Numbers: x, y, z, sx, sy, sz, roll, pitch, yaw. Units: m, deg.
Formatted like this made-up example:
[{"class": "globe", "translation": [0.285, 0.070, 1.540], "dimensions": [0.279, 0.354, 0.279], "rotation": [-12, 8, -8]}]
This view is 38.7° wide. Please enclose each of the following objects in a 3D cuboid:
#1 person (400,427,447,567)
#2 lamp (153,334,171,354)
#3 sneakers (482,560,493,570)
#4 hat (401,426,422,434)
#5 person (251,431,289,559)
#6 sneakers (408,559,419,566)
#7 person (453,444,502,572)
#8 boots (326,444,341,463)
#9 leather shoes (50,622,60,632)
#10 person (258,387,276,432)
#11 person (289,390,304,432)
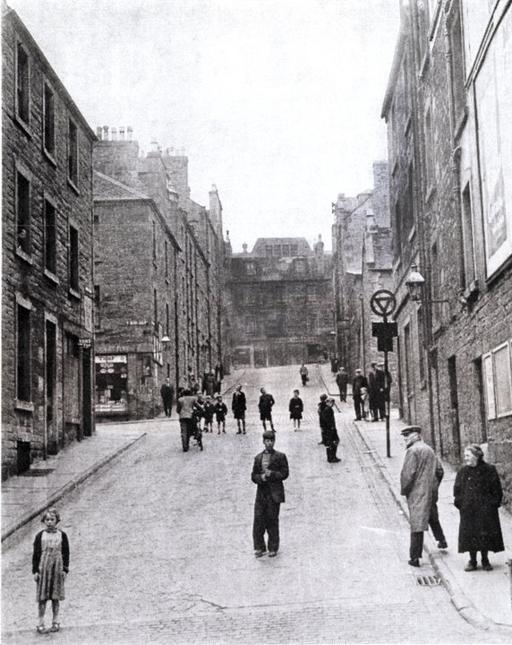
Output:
[{"class": "person", "translation": [2.077, 2.106, 9.078], "dimensions": [0.503, 1.656, 1.017], "rotation": [-4, -7, 15]}, {"class": "lamp", "translation": [-4.523, 1.077, 35.027], "dimensions": [0.624, 1.257, 0.832], "rotation": [-2, -2, 20]}, {"class": "sneakers", "translation": [2.531, 2.662, 7.998], "dimensions": [0.108, 0.095, 0.189], "rotation": [-7, -9, 18]}, {"class": "hat", "translation": [1.983, 1.371, 9.324], "dimensions": [0.214, 0.097, 0.211], "rotation": [-2, -2, 14]}, {"class": "person", "translation": [0.181, 2.285, 9.849], "dimensions": [0.501, 1.628, 0.604], "rotation": [-2, -6, -2]}, {"class": "sneakers", "translation": [1.873, 2.844, 8.646], "dimensions": [0.133, 0.096, 0.155], "rotation": [-6, -9, 7]}, {"class": "person", "translation": [2.445, 2.036, 8.026], "dimensions": [0.494, 1.333, 0.316], "rotation": [-5, -7, 19]}, {"class": "boots", "translation": [1.841, 3.144, 17.516], "dimensions": [0.306, 0.460, 0.462], "rotation": [-4, -8, 6]}, {"class": "leather shoes", "translation": [-1.930, 2.912, 6.974], "dimensions": [0.053, 0.081, 0.190], "rotation": [0, -18, -4]}, {"class": "person", "translation": [0.333, 2.849, 23.825], "dimensions": [0.413, 1.619, 0.374], "rotation": [-5, 24, 0]}, {"class": "person", "translation": [1.311, 2.818, 23.873], "dimensions": [0.341, 1.327, 0.383], "rotation": [-2, 17, 3]}]
